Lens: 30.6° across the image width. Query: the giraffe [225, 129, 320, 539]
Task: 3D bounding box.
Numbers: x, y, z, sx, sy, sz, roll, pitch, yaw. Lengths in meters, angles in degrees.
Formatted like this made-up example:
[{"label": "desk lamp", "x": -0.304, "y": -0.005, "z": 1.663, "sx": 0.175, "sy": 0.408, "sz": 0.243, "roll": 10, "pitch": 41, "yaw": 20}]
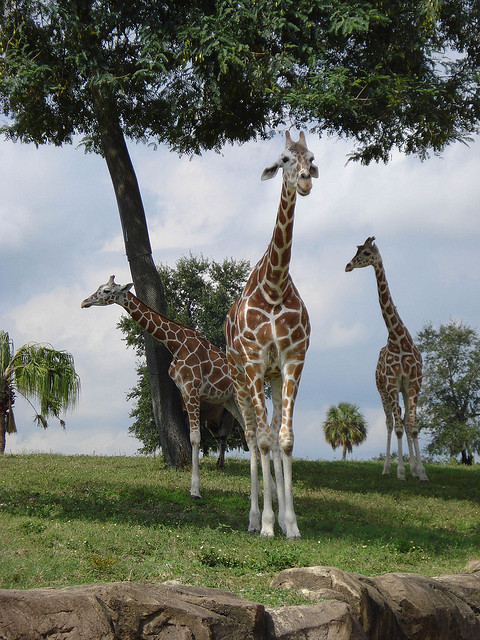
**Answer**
[{"label": "giraffe", "x": 0.467, "y": 0.218, "z": 11.840, "sx": 0.983, "sy": 5.265, "sz": 2.176, "roll": 1, "pitch": -6, "yaw": -15}]
